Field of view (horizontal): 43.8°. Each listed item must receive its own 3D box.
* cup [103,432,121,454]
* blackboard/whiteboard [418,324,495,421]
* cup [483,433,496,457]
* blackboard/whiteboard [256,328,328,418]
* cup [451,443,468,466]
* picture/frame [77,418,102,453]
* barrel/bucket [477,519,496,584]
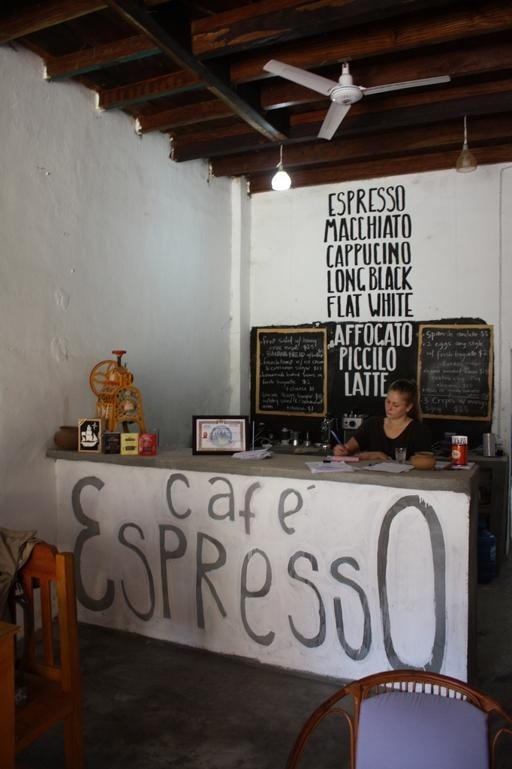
[{"bbox_3d":[-0.771,0.314,3.402,0.096,0.148,0.093,-1,-6,0],"label":"cup"},{"bbox_3d":[1.612,-0.082,5.052,0.639,1.012,0.040,0,-1,28],"label":"blackboard/whiteboard"},{"bbox_3d":[1.734,0.454,4.738,0.095,0.155,0.069,0,0,2],"label":"cup"},{"bbox_3d":[0.351,-0.104,5.750,0.677,0.939,0.040,0,-2,28],"label":"blackboard/whiteboard"},{"bbox_3d":[0.929,0.324,2.918,0.064,0.096,0.101,0,0,20],"label":"cup"},{"bbox_3d":[-0.905,0.285,3.473,0.149,0.240,0.029,0,0,22],"label":"picture/frame"},{"bbox_3d":[1.575,1.154,4.362,0.114,0.383,0.168,0,1,21],"label":"barrel/bucket"}]
